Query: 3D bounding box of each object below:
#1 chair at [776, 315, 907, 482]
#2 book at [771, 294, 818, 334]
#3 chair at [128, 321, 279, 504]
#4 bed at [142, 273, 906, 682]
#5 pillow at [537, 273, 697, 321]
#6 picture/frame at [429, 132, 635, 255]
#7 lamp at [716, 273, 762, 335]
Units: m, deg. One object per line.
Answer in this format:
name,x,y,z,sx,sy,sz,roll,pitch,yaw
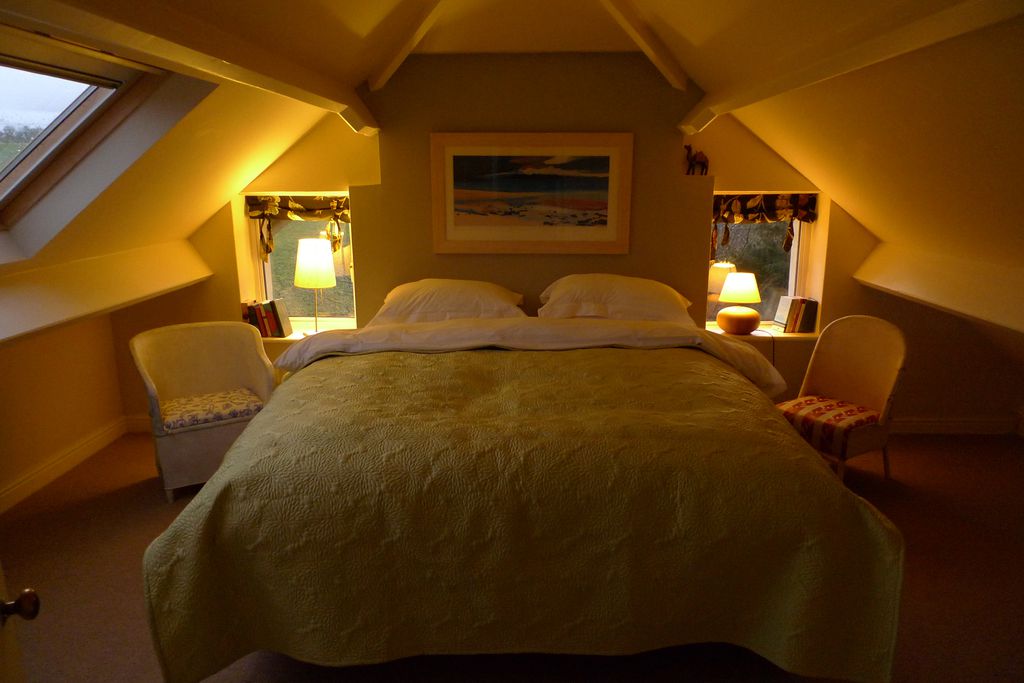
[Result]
chair,2.034,0.367,4.582,0.639,0.927,0.547,-11,18,-33
book,2.160,-0.216,5.663,0.244,0.327,0.337,3,7,-27
chair,-1.943,0.401,4.658,0.777,0.953,0.876,-7,7,-30
bed,0.065,0.696,3.734,3.018,1.366,1.628,2,10,0
pillow,0.697,-0.296,5.078,0.703,0.200,0.474,3,11,7
picture/frame,0.158,-1.077,5.373,1.443,0.904,0.035,0,28,1
lamp,1.728,-0.276,5.554,0.354,0.468,0.353,3,5,18
